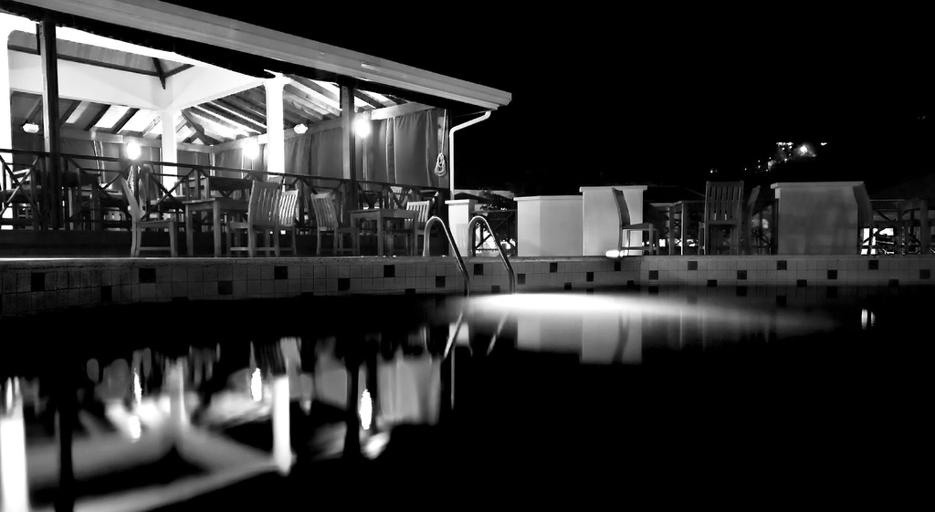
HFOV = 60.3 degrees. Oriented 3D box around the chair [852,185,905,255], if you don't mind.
[{"bbox_3d":[9.229,-0.778,18.043,0.864,1.524,3.949,-3,2,27],"label":"chair"}]
